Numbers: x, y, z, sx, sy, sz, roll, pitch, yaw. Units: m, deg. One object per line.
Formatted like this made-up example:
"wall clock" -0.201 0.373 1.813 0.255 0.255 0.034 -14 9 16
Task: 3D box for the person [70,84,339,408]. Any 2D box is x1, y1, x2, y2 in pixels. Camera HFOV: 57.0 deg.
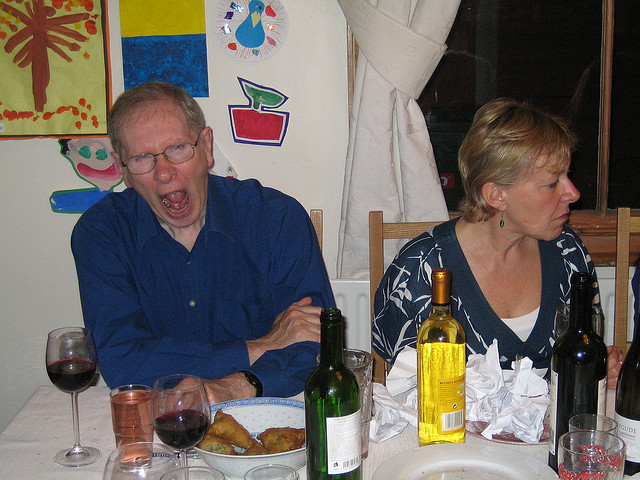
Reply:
"person" -0.389 -0.046 1.925 0.865 0.939 0.626 -2 4 24

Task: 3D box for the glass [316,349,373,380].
"glass" 0.070 0.262 1.337 0.084 0.065 0.082 0 1 -44

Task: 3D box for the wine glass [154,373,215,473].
"wine glass" -0.292 0.403 1.281 0.118 0.219 0.241 -4 4 -8

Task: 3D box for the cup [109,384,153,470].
"cup" -0.428 0.437 1.359 0.131 0.153 0.129 -2 -6 0

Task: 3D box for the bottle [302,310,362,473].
"bottle" 0.016 0.319 1.214 0.135 0.370 0.168 -3 4 2

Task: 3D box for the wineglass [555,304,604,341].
"wineglass" 0.628 0.181 1.421 0.106 0.107 0.108 0 -1 0

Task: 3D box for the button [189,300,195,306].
"button" -0.438 0.213 2.009 0.015 0.016 0.004 -4 -3 -6

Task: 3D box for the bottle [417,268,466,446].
"bottle" 0.259 0.259 1.271 0.106 0.404 0.106 -3 4 0

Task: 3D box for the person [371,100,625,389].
"person" 0.632 -0.060 2.127 0.951 0.988 0.746 -7 11 -15

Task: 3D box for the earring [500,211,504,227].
"earring" 0.572 -0.062 1.856 0.012 0.039 0.004 -1 5 26
